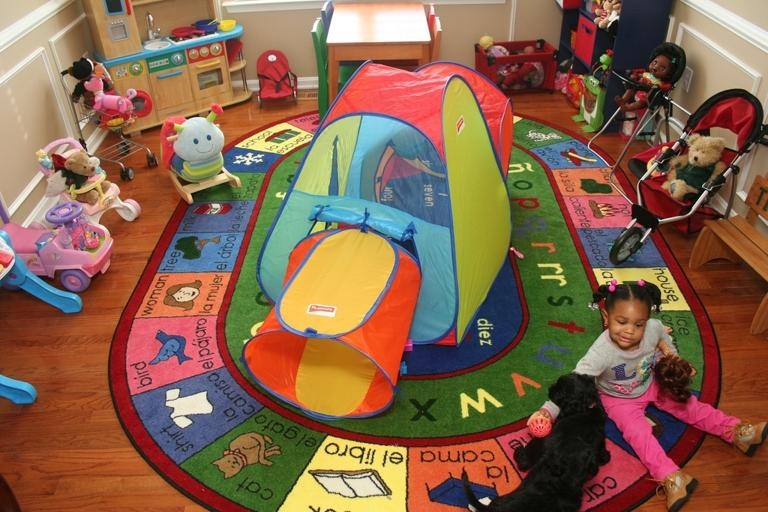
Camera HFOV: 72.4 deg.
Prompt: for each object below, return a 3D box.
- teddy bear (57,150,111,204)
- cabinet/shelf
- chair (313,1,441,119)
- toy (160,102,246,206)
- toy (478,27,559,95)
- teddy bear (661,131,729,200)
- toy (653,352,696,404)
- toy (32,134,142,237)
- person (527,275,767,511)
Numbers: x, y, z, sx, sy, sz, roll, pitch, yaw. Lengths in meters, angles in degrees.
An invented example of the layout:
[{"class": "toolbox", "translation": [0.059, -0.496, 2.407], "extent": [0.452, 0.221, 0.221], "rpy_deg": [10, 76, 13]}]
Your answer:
[{"class": "teddy bear", "translation": [-2.370, -0.593, 4.139], "extent": [0.402, 0.173, 0.313], "rpy_deg": [47, 59, -13]}, {"class": "cabinet/shelf", "translation": [-2.218, -1.920, 5.699], "extent": [0.601, 0.781, 1.514], "rpy_deg": [31, 47, 30]}, {"class": "chair", "translation": [-0.050, -1.972, 5.771], "extent": [1.175, 1.362, 1.464], "rpy_deg": [3, 49, 1]}, {"class": "toy", "translation": [-1.680, -0.951, 4.687], "extent": [0.564, 0.682, 0.899], "rpy_deg": [-20, 39, -34]}, {"class": "toy", "translation": [1.449, -2.074, 5.769], "extent": [0.912, 0.517, 0.618], "rpy_deg": [-2, 42, 1]}, {"class": "teddy bear", "translation": [2.318, -0.645, 3.977], "extent": [0.307, 0.506, 0.452], "rpy_deg": [-25, 33, -31]}, {"class": "toy", "translation": [1.609, 0.707, 3.063], "extent": [0.203, 0.285, 0.269], "rpy_deg": [-20, 68, 30]}, {"class": "toy", "translation": [-2.388, -0.527, 4.169], "extent": [0.690, 0.672, 0.554], "rpy_deg": [28, 43, 5]}, {"class": "person", "translation": [1.599, 0.654, 3.144], "extent": [1.303, 0.780, 1.247], "rpy_deg": [-22, 26, 5]}]
